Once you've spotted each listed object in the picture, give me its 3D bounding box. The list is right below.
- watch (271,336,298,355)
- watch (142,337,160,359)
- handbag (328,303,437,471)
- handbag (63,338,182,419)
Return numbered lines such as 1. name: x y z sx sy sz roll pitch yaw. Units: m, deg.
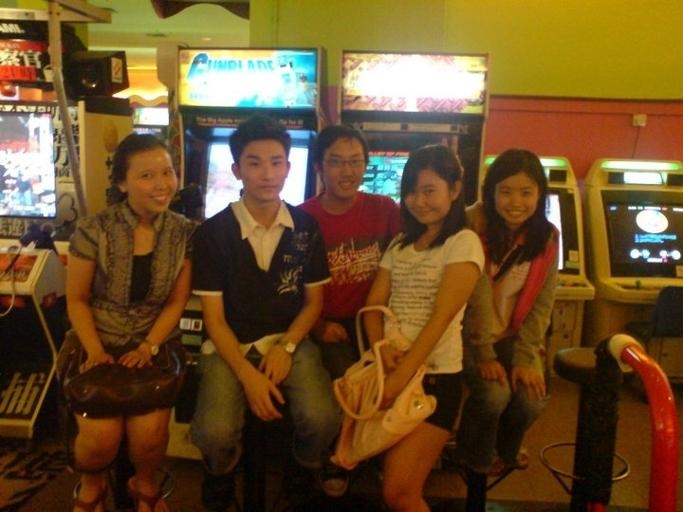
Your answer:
1. watch: -0.266 0.435 2.791 0.110 0.077 0.118 9 -1 44
2. watch: -0.942 0.453 2.854 0.096 0.054 0.071 24 -18 36
3. handbag: 0.203 0.675 2.703 0.483 0.842 0.403 4 12 15
4. handbag: -1.006 0.574 2.668 0.364 0.129 0.361 1 24 -14
